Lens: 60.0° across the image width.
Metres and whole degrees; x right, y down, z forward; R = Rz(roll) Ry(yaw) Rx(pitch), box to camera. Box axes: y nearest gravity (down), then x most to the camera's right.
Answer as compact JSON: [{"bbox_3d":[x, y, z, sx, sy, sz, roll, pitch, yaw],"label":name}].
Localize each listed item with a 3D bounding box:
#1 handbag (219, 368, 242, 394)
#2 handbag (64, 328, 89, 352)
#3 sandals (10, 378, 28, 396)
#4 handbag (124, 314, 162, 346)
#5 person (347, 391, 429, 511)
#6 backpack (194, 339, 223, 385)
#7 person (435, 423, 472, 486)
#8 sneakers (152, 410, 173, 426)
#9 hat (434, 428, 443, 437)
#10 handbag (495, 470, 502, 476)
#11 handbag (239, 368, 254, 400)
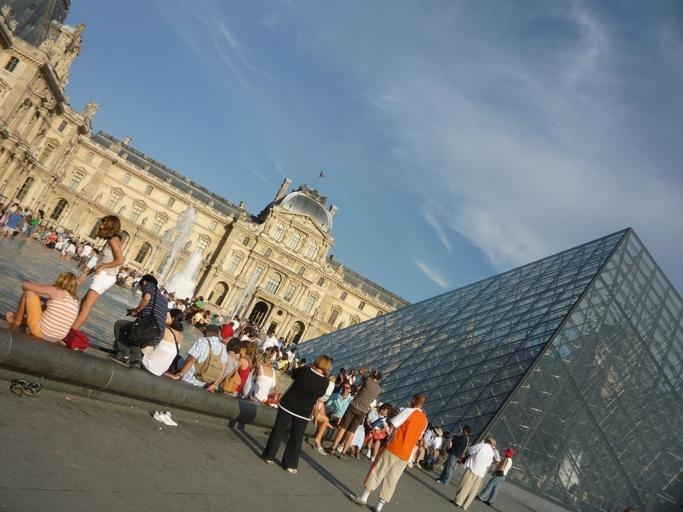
[{"bbox_3d":[-1.669,1.915,9.085,0.316,0.331,0.234,28,-13,-13],"label":"handbag"},{"bbox_3d":[-3.157,1.016,7.120,0.248,0.093,0.250,4,27,-42],"label":"handbag"},{"bbox_3d":[-3.501,1.410,6.375,0.145,0.148,0.045,10,-11,-7],"label":"sandals"},{"bbox_3d":[-2.546,0.974,7.559,0.418,0.424,0.323,-6,9,-21],"label":"handbag"},{"bbox_3d":[0.757,2.626,8.125,0.515,1.647,1.304,21,-13,12],"label":"person"},{"bbox_3d":[-1.867,1.534,8.420,0.444,0.569,0.115,33,-16,-32],"label":"backpack"},{"bbox_3d":[2.360,4.227,12.555,0.353,1.238,0.360,22,-11,10],"label":"person"},{"bbox_3d":[-2.285,2.047,7.494,0.235,0.091,0.157,7,3,39],"label":"sneakers"},{"bbox_3d":[2.274,4.109,13.874,0.185,0.260,0.074,-3,-19,-18],"label":"hat"},{"bbox_3d":[3.261,4.483,12.234,0.133,0.134,0.100,0,6,6],"label":"handbag"},{"bbox_3d":[-1.504,2.075,9.498,0.087,0.348,0.240,12,-6,-16],"label":"handbag"}]
